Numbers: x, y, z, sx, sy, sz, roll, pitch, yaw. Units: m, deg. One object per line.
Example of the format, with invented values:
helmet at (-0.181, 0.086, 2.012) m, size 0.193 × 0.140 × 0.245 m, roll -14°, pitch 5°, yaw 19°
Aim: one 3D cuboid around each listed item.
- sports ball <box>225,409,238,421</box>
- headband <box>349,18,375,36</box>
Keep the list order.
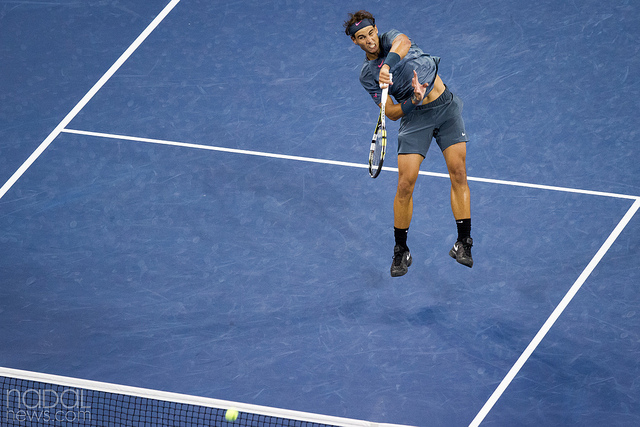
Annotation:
sports ball at (-1.119, 2.575, 8.848) m, size 0.157 × 0.153 × 0.147 m, roll 1°, pitch 13°, yaw 0°
headband at (0.562, -2.610, 9.680) m, size 0.258 × 0.102 × 0.255 m, roll -17°, pitch -10°, yaw -43°
